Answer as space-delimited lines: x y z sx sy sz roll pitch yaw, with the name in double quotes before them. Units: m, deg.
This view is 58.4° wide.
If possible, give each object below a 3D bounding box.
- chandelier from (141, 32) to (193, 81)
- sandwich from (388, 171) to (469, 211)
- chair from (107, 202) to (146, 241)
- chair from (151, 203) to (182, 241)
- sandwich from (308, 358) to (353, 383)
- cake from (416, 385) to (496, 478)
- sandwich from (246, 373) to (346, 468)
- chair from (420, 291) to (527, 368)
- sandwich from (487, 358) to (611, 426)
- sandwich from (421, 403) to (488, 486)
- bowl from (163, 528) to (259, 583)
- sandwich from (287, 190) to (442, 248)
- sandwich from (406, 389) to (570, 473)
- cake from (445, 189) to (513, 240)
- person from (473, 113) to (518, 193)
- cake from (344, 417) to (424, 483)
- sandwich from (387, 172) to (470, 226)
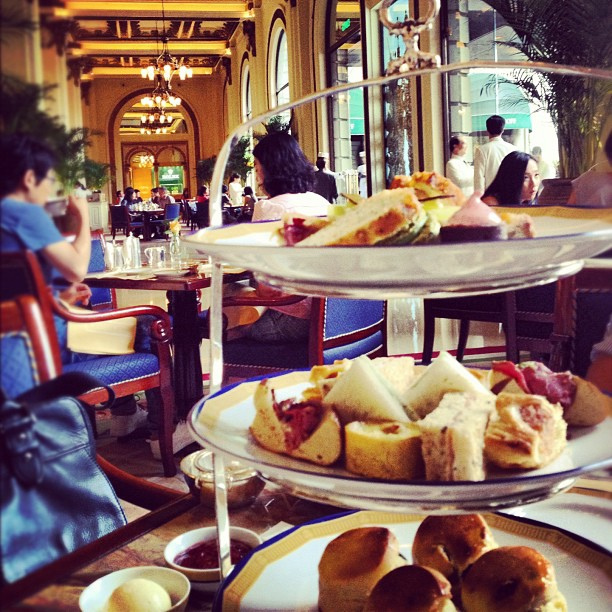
"chandelier" -2.115 -3.725 8.173 0.600 0.597 0.645 14 28 20
"sandwich" 0.118 -0.108 0.511 0.058 0.027 0.068 13 10 2
"chair" -3.700 -1.926 11.897 0.801 0.582 0.593 -12 -1 24
"chair" -3.305 -2.071 13.115 0.672 0.766 0.613 3 14 12
"sandwich" 0.026 0.067 0.579 0.035 0.013 0.029 -29 1 36
"cake" 0.115 0.097 0.440 0.054 0.058 0.093 5 21 32
"sandwich" 0.000 0.104 0.501 0.121 0.038 0.086 9 10 33
"chair" 0.806 0.028 2.827 0.402 0.495 0.403 8 4 33
"sandwich" 0.232 0.077 0.515 0.083 0.029 0.060 14 21 23
"sandwich" 0.111 0.103 0.411 0.045 0.040 0.059 -7 -4 22
"bowl" -0.114 0.292 0.638 0.080 0.029 0.074 -1 11 0
"sandwich" 0.048 -0.065 0.418 0.090 0.047 0.073 -8 -5 30
"sandwich" 0.160 0.092 0.441 0.085 0.028 0.079 2 16 14
"cake" 0.126 -0.067 0.413 0.048 0.037 0.046 3 19 12
"person" 1.746 -1.206 4.995 0.427 1.014 0.360 -4 28 15
"cake" 0.065 0.117 0.449 0.068 0.034 0.062 0 2 -29
"sandwich" 0.107 -0.102 0.494 0.070 0.032 0.081 25 11 4
